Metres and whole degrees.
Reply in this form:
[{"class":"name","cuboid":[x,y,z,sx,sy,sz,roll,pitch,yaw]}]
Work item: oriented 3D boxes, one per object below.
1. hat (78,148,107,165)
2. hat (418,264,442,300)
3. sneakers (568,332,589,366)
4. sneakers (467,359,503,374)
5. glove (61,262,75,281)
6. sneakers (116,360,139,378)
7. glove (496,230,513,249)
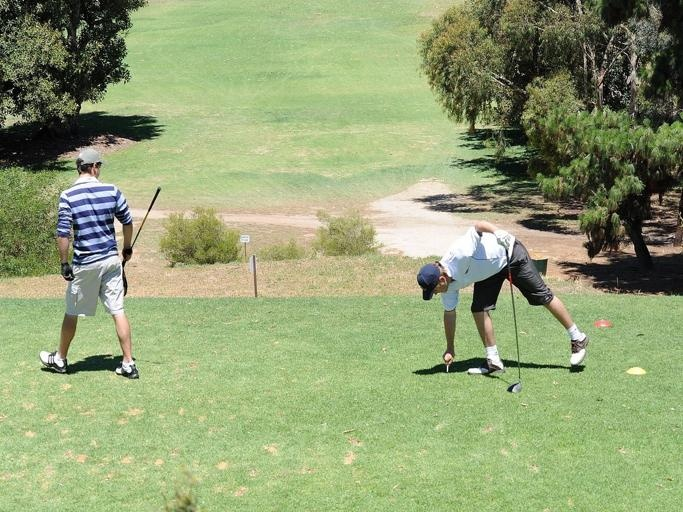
[{"class":"hat","cuboid":[-3.518,-1.399,13.211,0.282,0.213,0.456,-1,10,21]},{"class":"hat","cuboid":[1.214,0.317,12.902,0.299,0.478,0.273,-6,-31,41]},{"class":"sneakers","cuboid":[3.357,1.320,13.295,0.257,0.563,0.179,30,-21,-32]},{"class":"sneakers","cuboid":[2.048,1.558,13.426,0.522,0.231,0.202,0,0,2]},{"class":"glove","cuboid":[-3.789,0.207,13.036,0.170,0.247,0.078,-3,12,37]},{"class":"sneakers","cuboid":[-3.023,1.581,13.321,0.157,0.211,0.439,-6,13,-33]},{"class":"glove","cuboid":[2.277,-0.254,13.066,0.178,0.295,0.088,-42,-1,21]}]
